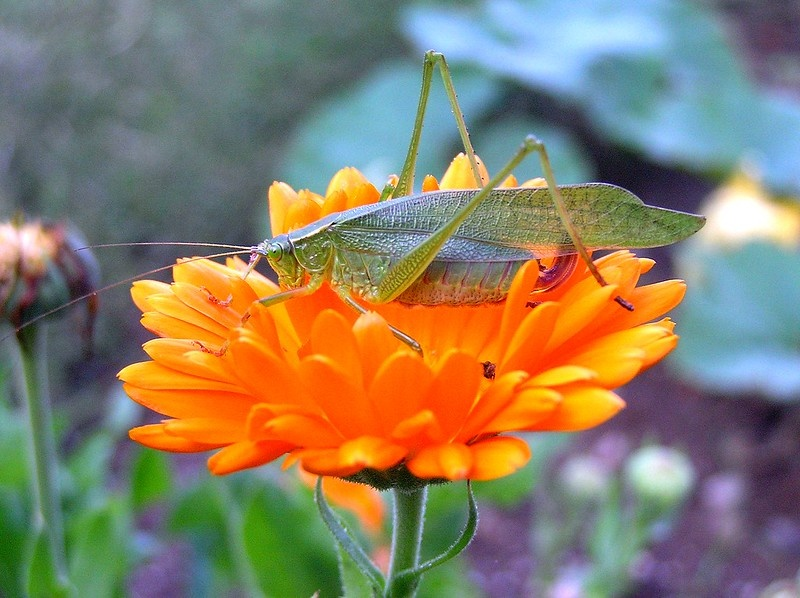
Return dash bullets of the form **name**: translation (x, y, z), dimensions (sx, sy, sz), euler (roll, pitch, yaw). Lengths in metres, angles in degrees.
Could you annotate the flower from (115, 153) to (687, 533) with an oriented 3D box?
- **flower**: translation (-0.011, -0.131, 1.840), dimensions (0.892, 0.381, 0.954), euler (20, 46, 27)
